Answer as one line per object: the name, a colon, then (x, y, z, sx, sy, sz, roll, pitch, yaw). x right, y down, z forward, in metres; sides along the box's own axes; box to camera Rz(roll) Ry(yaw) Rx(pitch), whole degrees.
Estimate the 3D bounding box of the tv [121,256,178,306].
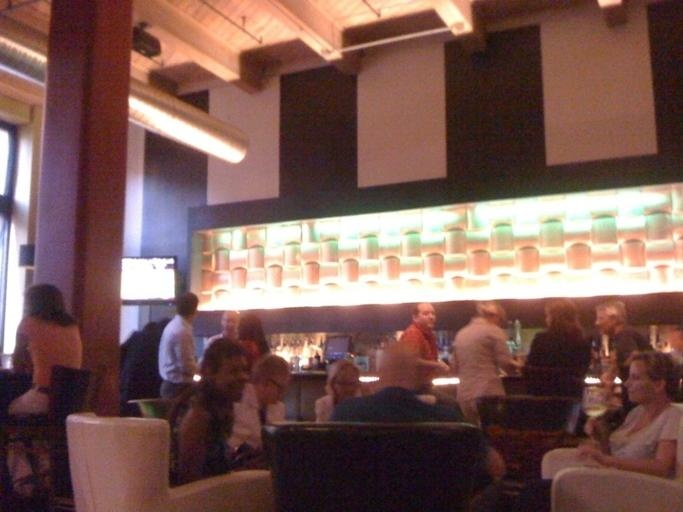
tv: (-2.379, 0.277, 8.561, 0.682, 0.674, 0.164, -2, 0, 15)
